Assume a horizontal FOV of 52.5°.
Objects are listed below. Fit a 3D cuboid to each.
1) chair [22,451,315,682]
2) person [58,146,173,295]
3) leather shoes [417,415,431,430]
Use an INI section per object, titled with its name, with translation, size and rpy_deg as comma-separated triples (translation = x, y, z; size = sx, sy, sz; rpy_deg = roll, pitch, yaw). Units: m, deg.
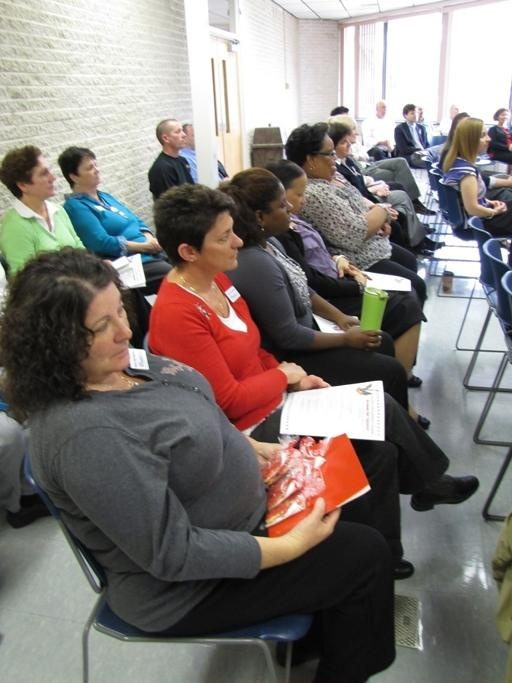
[chair]
translation = -0.159, 0.389, 1.383
size = 0.625, 0.868, 0.463
rpy_deg = -1, 19, 7
[person]
translation = -0.844, -0.665, 3.211
size = 0.647, 0.970, 0.432
rpy_deg = 4, 30, 2
[leather shoes]
translation = 0.767, 0.364, 2.374
size = 0.047, 0.043, 0.112
rpy_deg = -4, 12, 7
